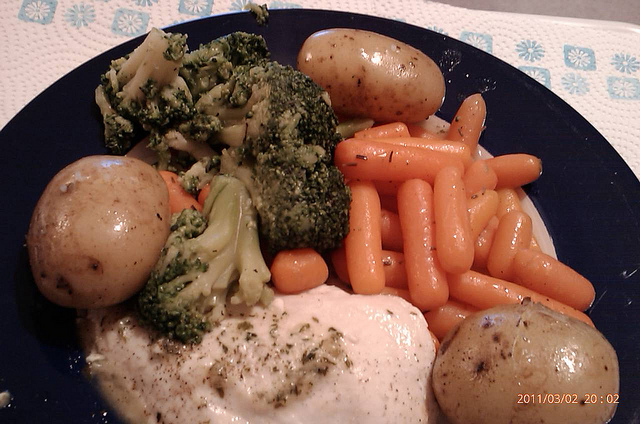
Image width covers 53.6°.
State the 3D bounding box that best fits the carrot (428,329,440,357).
[{"bbox_3d":[0.652,0.755,3.640,0.040,0.084,0.079,-20,38,-38],"label":"carrot"}]

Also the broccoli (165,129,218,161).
[{"bbox_3d":[-0.786,-0.396,3.805,0.266,0.081,0.158,21,75,-19],"label":"broccoli"}]

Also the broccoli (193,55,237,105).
[{"bbox_3d":[-0.662,-0.818,3.811,0.296,0.233,0.115,-41,73,-19],"label":"broccoli"}]

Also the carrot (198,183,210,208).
[{"bbox_3d":[-0.708,-0.102,3.862,0.059,0.121,0.115,12,23,10],"label":"carrot"}]
